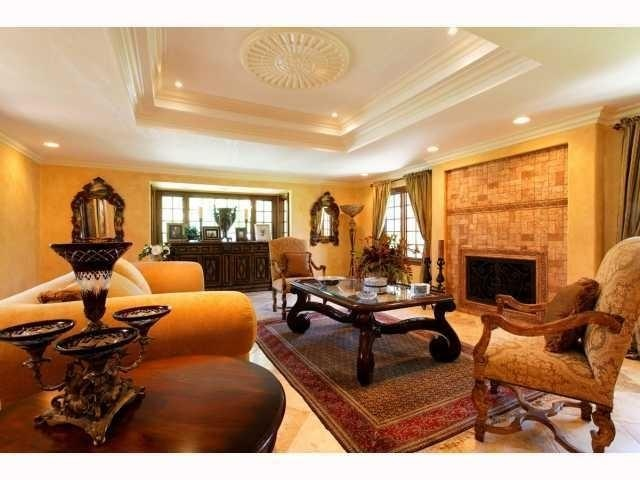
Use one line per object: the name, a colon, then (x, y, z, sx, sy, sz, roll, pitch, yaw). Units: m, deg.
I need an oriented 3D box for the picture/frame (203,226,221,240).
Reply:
picture/frame: (-2.063, -0.119, 7.477, 0.319, 0.242, 0.030, -1, 0, -25)

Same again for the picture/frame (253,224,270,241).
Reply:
picture/frame: (-1.199, -0.151, 8.160, 0.466, 0.350, 0.058, 2, -15, -36)

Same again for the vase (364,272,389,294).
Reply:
vase: (0.593, 0.463, 4.187, 0.252, 0.114, 0.217, 0, -4, -1)

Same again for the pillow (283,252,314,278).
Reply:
pillow: (-0.329, 0.365, 5.859, 0.481, 0.354, 0.127, -2, -22, -24)

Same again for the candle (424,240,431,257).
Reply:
candle: (1.750, 0.146, 6.356, 0.091, 0.276, 0.129, -1, 3, 4)

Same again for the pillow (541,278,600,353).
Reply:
pillow: (1.685, 0.513, 2.685, 0.245, 0.435, 0.513, 2, -5, 18)

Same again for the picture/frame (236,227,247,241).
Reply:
picture/frame: (-1.600, -0.108, 7.953, 0.356, 0.342, 0.042, 0, -2, -25)

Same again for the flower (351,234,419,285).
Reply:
flower: (0.710, 0.246, 4.519, 0.713, 0.518, 0.626, 1, -9, -2)

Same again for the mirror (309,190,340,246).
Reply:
mirror: (0.124, -0.424, 8.227, 0.278, 1.127, 0.653, 1, 4, 41)

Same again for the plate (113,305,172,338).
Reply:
plate: (-0.874, 0.379, 1.959, 0.232, 0.088, 0.204, 1, 2, 10)

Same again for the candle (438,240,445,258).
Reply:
candle: (1.791, 0.131, 5.770, 0.090, 0.255, 0.343, 0, 2, 17)

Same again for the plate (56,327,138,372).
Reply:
plate: (-0.971, 0.470, 1.718, 0.280, 0.080, 0.241, 1, -3, -3)

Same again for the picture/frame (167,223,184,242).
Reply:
picture/frame: (-2.704, -0.126, 7.338, 0.446, 0.425, 0.054, -1, -2, -35)
